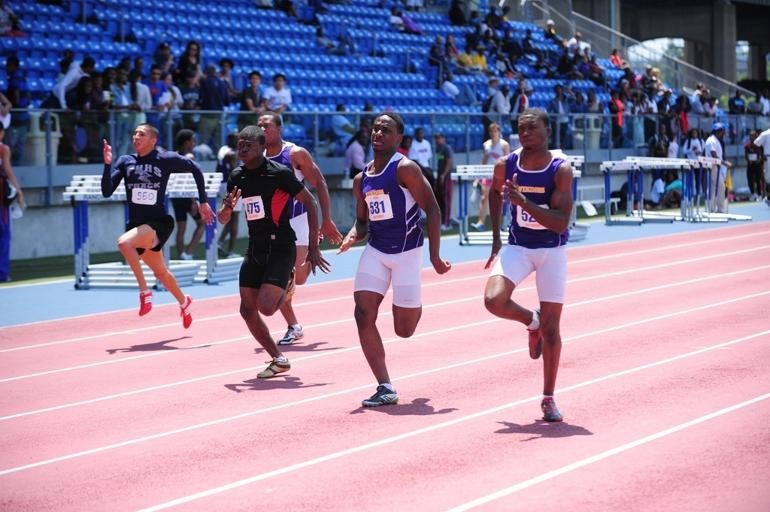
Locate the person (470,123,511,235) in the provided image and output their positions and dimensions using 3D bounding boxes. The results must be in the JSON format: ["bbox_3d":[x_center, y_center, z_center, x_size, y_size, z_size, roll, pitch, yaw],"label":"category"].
[{"bbox_3d":[2.674,-1.940,21.575,0.664,2.585,0.880,5,5,9],"label":"person"}]

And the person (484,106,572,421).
[{"bbox_3d":[1.385,0.034,8.363,0.798,2.880,1.159,0,8,6],"label":"person"}]

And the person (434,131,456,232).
[{"bbox_3d":[1.561,-2.095,22.710,0.438,2.262,0.563,-8,-14,14],"label":"person"}]

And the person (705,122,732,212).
[{"bbox_3d":[10.138,-2.693,26.523,0.655,2.750,1.103,2,6,13],"label":"person"}]

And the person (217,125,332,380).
[{"bbox_3d":[-1.117,-0.107,9.823,1.107,2.915,1.250,0,-2,3],"label":"person"}]

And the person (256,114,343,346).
[{"bbox_3d":[-1.155,-0.474,10.510,1.045,3.097,1.238,2,-2,2],"label":"person"}]

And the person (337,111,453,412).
[{"bbox_3d":[0.057,0.026,8.962,1.056,2.847,1.314,0,-1,8],"label":"person"}]

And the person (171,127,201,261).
[{"bbox_3d":[-4.090,-1.278,17.490,0.766,2.691,0.851,3,0,-16],"label":"person"}]

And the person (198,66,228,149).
[{"bbox_3d":[-3.969,-3.267,20.081,0.656,2.199,0.615,1,-6,-26],"label":"person"}]
